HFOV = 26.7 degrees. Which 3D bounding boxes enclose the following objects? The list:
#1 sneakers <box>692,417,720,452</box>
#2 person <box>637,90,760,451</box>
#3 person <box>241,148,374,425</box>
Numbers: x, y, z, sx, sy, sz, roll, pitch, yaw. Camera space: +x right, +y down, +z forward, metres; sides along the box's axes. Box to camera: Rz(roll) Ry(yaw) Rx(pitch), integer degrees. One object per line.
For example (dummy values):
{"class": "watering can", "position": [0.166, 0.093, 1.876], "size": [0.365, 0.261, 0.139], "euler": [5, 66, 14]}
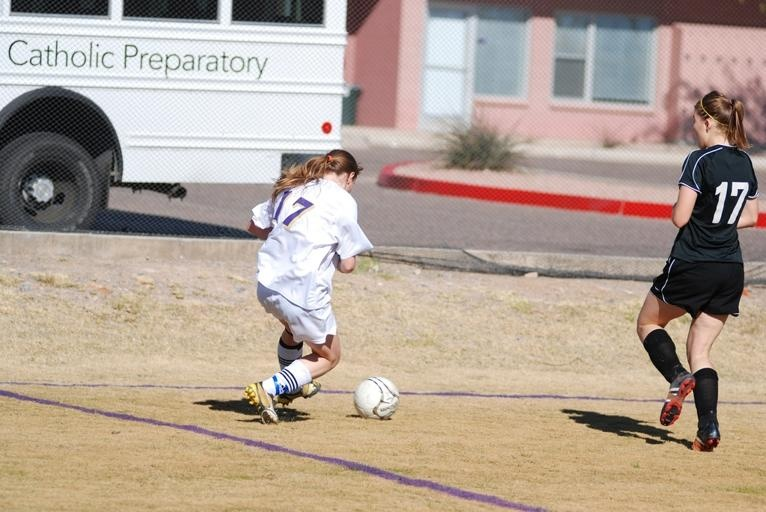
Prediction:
{"class": "sneakers", "position": [3.118, 1.704, 15.532], "size": [0.244, 0.360, 0.291], "euler": [3, 6, 10]}
{"class": "person", "position": [3.024, 0.149, 15.551], "size": [1.044, 3.425, 0.672], "euler": [3, 6, 12]}
{"class": "person", "position": [-0.758, 0.296, 15.647], "size": [1.076, 2.645, 0.520], "euler": [1, 6, -6]}
